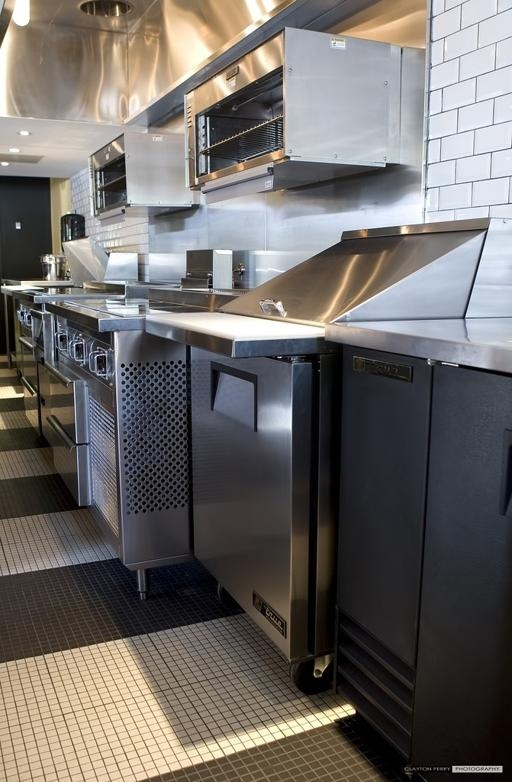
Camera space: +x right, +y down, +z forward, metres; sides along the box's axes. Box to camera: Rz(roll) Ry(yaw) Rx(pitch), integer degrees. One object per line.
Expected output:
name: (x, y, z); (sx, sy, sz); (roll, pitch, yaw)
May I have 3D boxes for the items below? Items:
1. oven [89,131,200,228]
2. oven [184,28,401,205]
oven: (-0.868, -1.496, 4.065); (0.444, 0.495, 0.959); (-8, 15, -30)
oven: (0.088, -0.966, 2.030); (0.393, 0.485, 0.878); (-1, 4, -29)
